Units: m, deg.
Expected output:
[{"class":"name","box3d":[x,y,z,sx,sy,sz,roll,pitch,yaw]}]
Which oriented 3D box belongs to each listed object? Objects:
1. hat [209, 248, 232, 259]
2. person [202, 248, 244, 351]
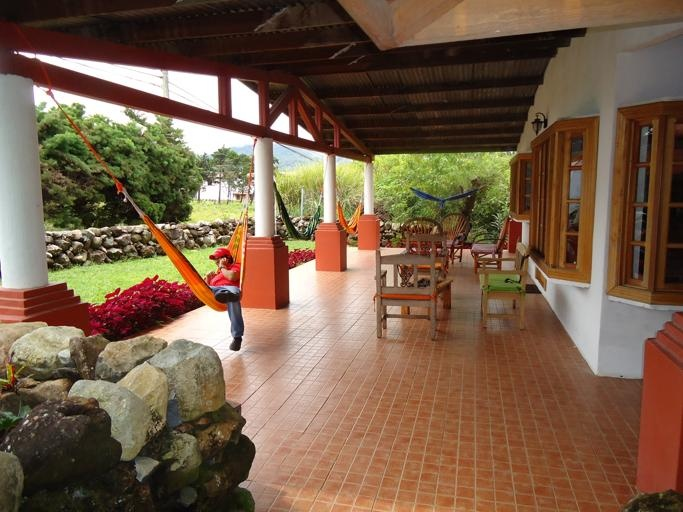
[{"class":"hat","box3d":[-1.459,-0.033,5.601,0.241,0.120,0.146,7,-5,-18]},{"class":"person","box3d":[-1.358,0.484,5.449,0.417,0.949,0.614,1,-1,-12]}]
